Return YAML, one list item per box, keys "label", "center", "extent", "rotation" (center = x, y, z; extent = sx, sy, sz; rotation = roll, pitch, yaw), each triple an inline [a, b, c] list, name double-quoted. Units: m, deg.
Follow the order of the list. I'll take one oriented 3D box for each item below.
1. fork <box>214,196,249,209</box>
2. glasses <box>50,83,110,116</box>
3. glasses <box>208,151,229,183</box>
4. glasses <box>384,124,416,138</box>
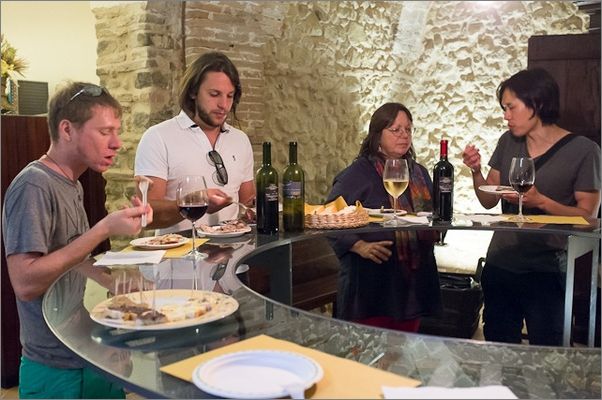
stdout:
- label: "fork"
  center: [-0.371, 0.008, 2.355]
  extent: [0.290, 0.077, 0.080]
  rotation: [-1, 5, 36]
- label: "glasses"
  center: [-0.941, -0.427, 1.939]
  extent: [0.147, 0.047, 0.149]
  rotation: [-21, 16, 24]
- label: "glasses"
  center: [-0.496, -0.198, 2.623]
  extent: [0.099, 0.206, 0.264]
  rotation: [-2, 6, -12]
- label: "glasses"
  center: [0.626, -0.463, 2.987]
  extent: [0.182, 0.056, 0.185]
  rotation: [-2, 2, -16]
